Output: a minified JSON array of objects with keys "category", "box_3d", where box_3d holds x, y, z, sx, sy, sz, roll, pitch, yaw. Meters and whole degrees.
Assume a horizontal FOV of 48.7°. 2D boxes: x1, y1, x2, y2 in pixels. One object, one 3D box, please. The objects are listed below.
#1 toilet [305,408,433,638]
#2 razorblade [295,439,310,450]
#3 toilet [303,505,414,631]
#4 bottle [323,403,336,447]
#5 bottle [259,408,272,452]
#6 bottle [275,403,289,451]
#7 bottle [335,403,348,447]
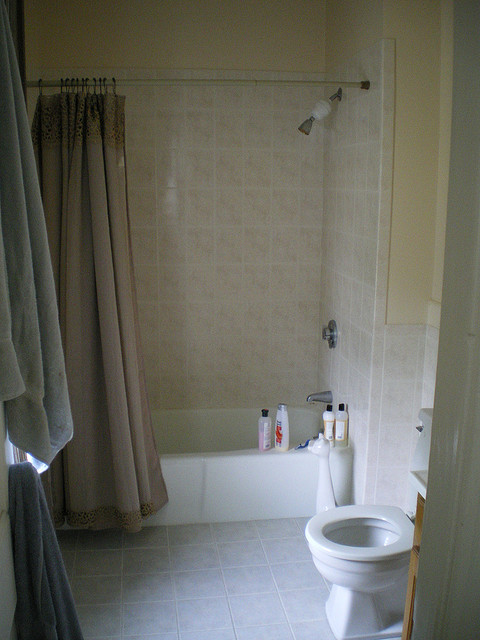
[{"category":"toilet","box_3d":[0.486,0.736,2.052,0.446,0.883,0.485,2,7,19]},{"category":"razorblade","box_3d":[0.333,0.658,2.808,0.083,0.052,0.031,2,-2,-18]},{"category":"toilet","box_3d":[0.467,0.926,2.019,0.274,0.384,0.410,-1,5,-5]},{"category":"bottle","box_3d":[0.464,0.565,2.761,0.065,0.169,0.109,1,7,8]},{"category":"bottle","box_3d":[0.137,0.570,2.835,0.067,0.201,0.222,0,8,3]},{"category":"bottle","box_3d":[0.217,0.561,2.797,0.065,0.223,0.144,0,7,4]},{"category":"bottle","box_3d":[0.522,0.539,2.738,0.066,0.219,0.056,2,6,15]}]
